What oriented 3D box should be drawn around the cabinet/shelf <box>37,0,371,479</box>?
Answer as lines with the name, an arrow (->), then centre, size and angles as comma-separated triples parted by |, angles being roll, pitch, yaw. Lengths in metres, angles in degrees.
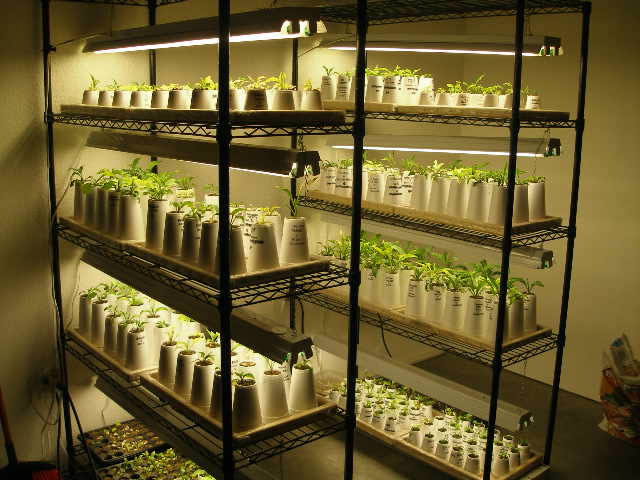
cabinet/shelf -> -0.470, 0.064, 2.653 | 1.373, 2.439, 0.779 | 10, 13, 38
